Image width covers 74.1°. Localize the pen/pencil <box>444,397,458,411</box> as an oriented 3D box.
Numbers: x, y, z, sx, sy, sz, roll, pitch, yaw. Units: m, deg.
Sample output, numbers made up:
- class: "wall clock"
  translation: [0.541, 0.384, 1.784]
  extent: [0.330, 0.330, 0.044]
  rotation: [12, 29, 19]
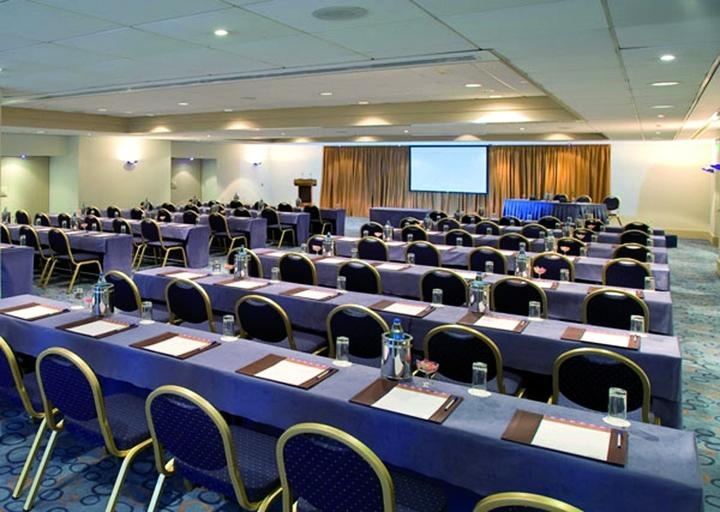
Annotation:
- class: "pen/pencil"
  translation: [0.495, 0.809, 2.601]
  extent: [0.029, 0.026, 0.187]
  rotation: [1, 5, 25]
